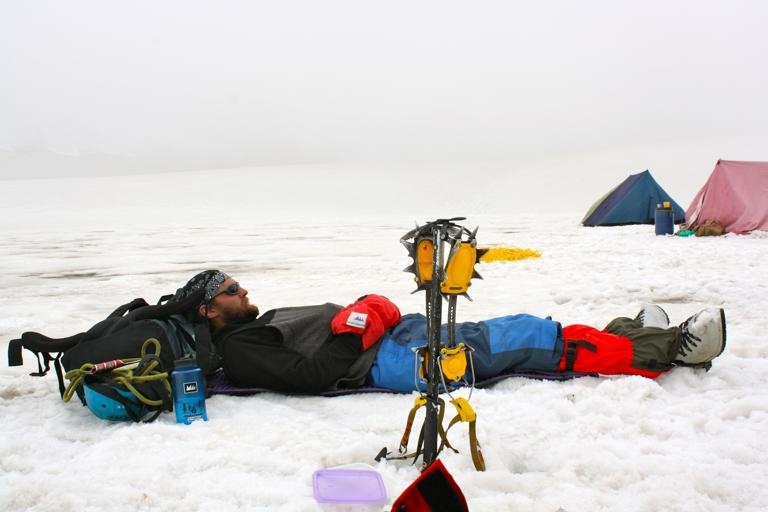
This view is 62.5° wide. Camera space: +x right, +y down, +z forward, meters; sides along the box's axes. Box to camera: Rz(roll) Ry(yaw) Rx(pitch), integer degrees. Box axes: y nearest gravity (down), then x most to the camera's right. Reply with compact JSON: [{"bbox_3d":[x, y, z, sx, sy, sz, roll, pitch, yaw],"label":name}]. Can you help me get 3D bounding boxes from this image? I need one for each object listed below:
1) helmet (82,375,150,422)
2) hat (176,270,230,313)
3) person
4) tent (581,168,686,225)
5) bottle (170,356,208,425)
[{"bbox_3d":[-2.090,1.096,4.883,0.380,0.202,0.291,5,-1,30],"label":"helmet"},{"bbox_3d":[-1.634,0.292,5.625,0.389,0.188,0.290,-31,7,-2],"label":"hat"},{"bbox_3d":[0.365,0.652,5.574,4.389,1.035,0.785,0,5,2],"label":"person"},{"bbox_3d":[6.391,-1.310,16.031,2.547,0.996,2.356,-3,4,-4],"label":"tent"},{"bbox_3d":[-1.512,1.031,4.857,0.249,0.459,0.302,-2,5,-18],"label":"bottle"}]
